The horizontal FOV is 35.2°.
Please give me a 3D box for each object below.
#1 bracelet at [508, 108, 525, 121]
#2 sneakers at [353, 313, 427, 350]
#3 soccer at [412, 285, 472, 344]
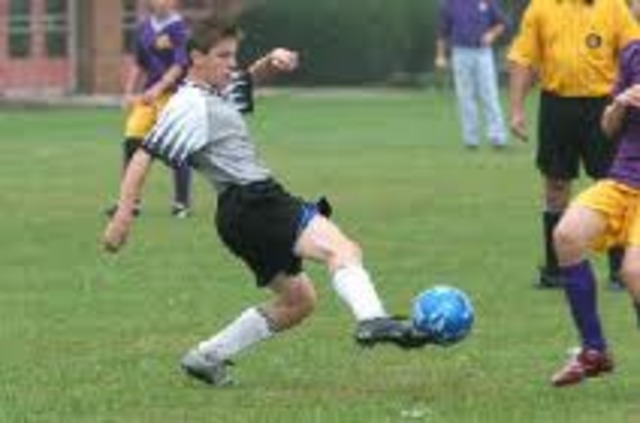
[{"bbox_3d":[1.526,-0.757,7.795,0.102,0.027,0.101,-23,4,33],"label":"bracelet"},{"bbox_3d":[0.391,0.723,6.150,0.506,0.173,0.253,5,29,-2],"label":"sneakers"},{"bbox_3d":[0.787,0.681,6.566,0.375,0.364,0.422,3,-12,37],"label":"soccer"}]
